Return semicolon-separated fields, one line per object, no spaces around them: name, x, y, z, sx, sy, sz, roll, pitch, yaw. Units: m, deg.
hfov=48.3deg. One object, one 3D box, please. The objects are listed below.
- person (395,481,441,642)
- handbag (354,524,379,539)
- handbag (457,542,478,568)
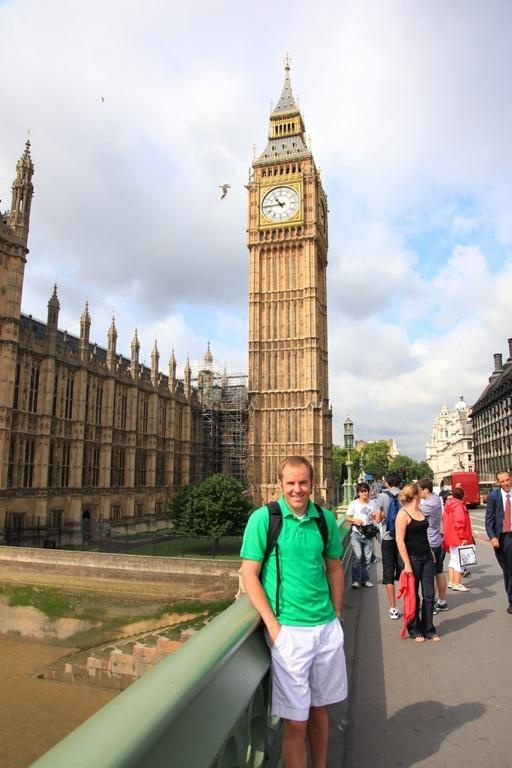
person;1.610;1.848;5.939;0.404;0.987;0.986;-10;-7;15
handbag;1.641;2.231;8.533;0.239;0.121;0.197;-3;-19;33
handbag;2.837;2.368;7.758;0.202;0.205;0.372;-12;-7;24
